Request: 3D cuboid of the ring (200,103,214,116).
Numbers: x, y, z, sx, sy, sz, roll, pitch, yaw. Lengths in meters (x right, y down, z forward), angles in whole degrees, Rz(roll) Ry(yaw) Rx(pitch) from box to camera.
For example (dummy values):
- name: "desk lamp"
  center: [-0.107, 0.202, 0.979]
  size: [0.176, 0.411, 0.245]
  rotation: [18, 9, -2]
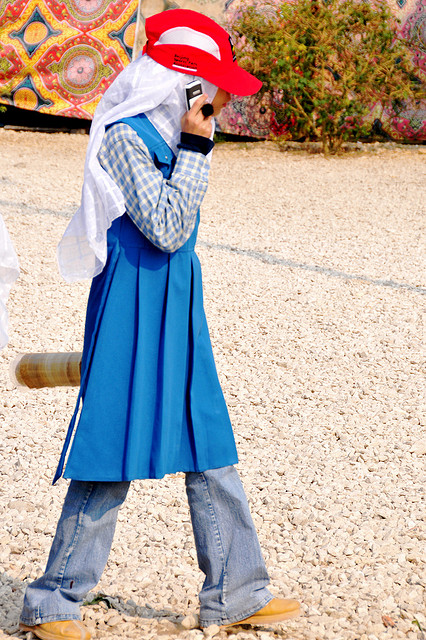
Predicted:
- name: "ring"
  center: [-0.011, -0.463, 1.366]
  size: [0.019, 0.024, 0.043]
  rotation: [28, 32, 31]

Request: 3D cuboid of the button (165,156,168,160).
- name: "button"
  center: [-0.103, -0.357, 1.363]
  size: [0.002, 0.006, 0.005]
  rotation: [2, 16, 31]

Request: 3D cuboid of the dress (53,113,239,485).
- name: "dress"
  center: [-0.132, 0.089, 1.424]
  size: [0.427, 0.625, 0.370]
  rotation: [3, 29, -13]

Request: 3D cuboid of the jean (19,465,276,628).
- name: "jean"
  center: [-0.134, 0.563, 1.523]
  size: [0.658, 0.207, 0.398]
  rotation: [-4, 56, 14]
